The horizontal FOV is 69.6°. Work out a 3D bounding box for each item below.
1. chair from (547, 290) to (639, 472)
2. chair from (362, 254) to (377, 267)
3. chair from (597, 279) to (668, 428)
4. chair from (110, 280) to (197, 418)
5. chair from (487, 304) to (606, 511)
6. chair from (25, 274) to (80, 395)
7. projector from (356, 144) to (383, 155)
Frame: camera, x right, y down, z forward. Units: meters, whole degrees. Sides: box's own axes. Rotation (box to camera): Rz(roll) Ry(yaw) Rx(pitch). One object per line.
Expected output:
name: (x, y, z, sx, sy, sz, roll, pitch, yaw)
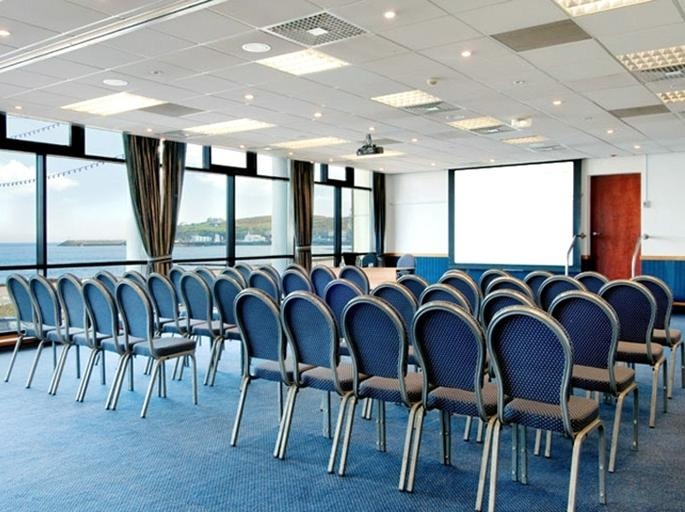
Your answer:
chair: (1.879, 0.849, 3.715, 0.675, 1.132, 0.622, 2, 0, 38)
chair: (0.734, 0.102, 13.319, 0.323, 0.389, 0.379, 2, 3, 16)
chair: (2.443, 0.802, 4.257, 0.573, 1.106, 0.481, -5, 2, 40)
chair: (-1.908, 0.823, 4.800, 0.790, 1.231, 0.706, 4, 6, 38)
chair: (1.211, 0.912, 3.032, 0.634, 1.309, 0.705, 4, 7, 41)
chair: (-3.022, 0.827, 5.521, 0.903, 1.194, 0.790, 4, -6, -37)
projector: (0.500, -1.922, 8.824, 0.415, 0.225, 0.523, 0, 4, 8)
